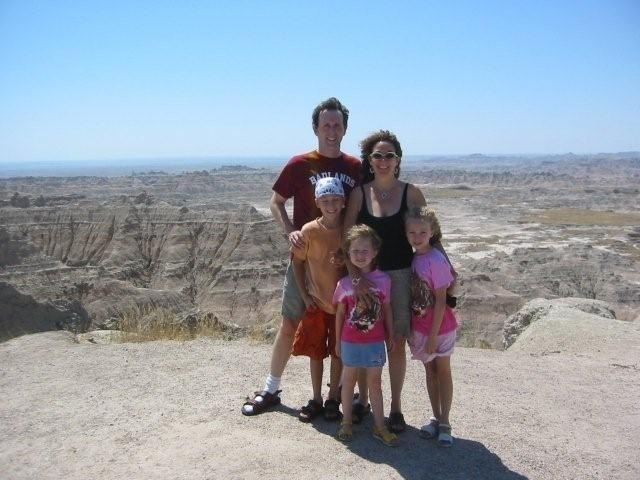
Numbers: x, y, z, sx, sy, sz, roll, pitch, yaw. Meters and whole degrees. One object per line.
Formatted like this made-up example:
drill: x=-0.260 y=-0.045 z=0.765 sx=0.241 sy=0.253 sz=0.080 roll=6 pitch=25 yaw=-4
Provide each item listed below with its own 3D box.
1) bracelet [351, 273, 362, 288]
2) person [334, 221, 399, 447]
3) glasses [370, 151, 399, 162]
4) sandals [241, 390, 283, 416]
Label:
bracelet: x=0.346 y=0.389 z=3.968 sx=0.090 sy=0.116 sz=0.060 roll=3 pitch=7 yaw=4
person: x=0.411 y=0.864 z=3.981 sx=0.594 sy=1.987 sz=0.530 roll=2 pitch=7 yaw=1
glasses: x=0.624 y=-0.814 z=4.098 sx=0.268 sy=0.072 sz=0.075 roll=3 pitch=7 yaw=7
sandals: x=-0.611 y=1.690 z=4.390 sx=0.156 sy=0.141 sz=0.379 roll=1 pitch=-2 yaw=44
